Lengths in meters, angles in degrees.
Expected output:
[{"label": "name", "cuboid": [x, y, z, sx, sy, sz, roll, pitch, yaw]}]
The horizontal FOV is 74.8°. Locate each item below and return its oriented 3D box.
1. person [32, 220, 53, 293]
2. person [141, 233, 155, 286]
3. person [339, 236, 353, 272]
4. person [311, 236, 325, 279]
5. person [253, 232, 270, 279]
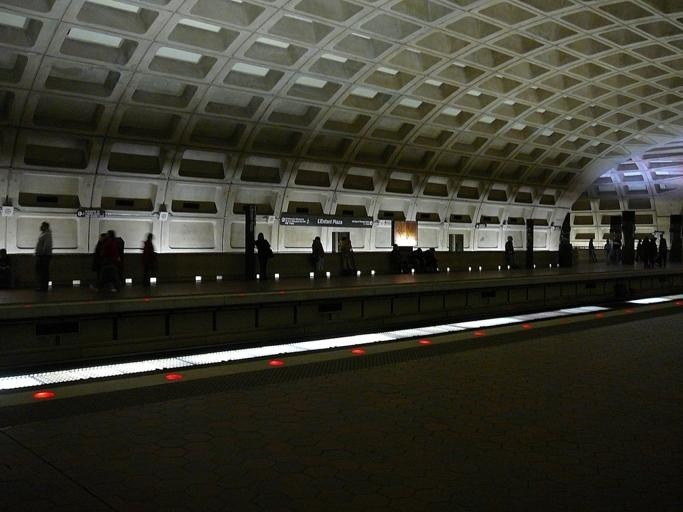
[{"label": "person", "cuboid": [-8.777, 0.047, 13.094, 0.382, 2.008, 0.798, -1, 3, -34]}, {"label": "person", "cuboid": [-6.771, 0.156, 15.577, 0.428, 1.801, 1.577, 0, 3, -24]}, {"label": "person", "cuboid": [0.260, -0.003, 20.988, 0.631, 1.748, 0.735, -2, 3, -43]}, {"label": "person", "cuboid": [-1.066, 0.057, 19.760, 0.550, 1.710, 1.257, 0, 2, -3]}, {"label": "person", "cuboid": [-3.224, 0.038, 18.411, 0.670, 1.891, 1.392, 0, 3, -12]}]
